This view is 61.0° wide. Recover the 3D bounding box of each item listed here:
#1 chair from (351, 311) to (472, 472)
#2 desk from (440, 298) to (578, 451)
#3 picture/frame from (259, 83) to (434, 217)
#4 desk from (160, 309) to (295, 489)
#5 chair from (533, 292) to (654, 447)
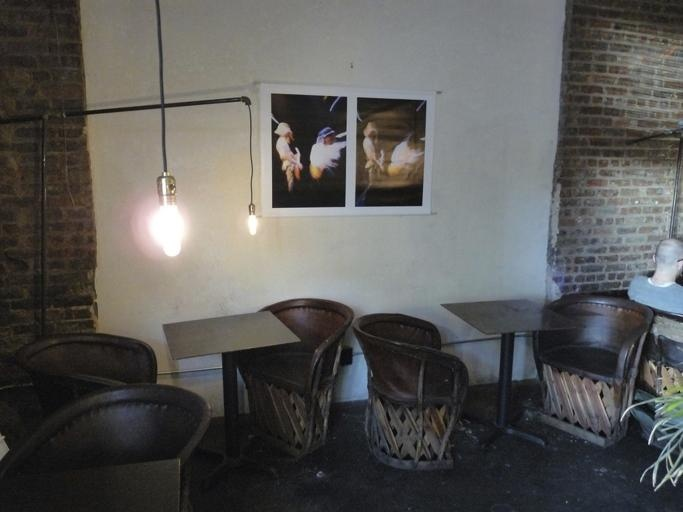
[{"bbox_3d":[0.503,1.003,4.483,0.685,1.009,0.850,-2,11,-6],"label":"chair"},{"bbox_3d":[1.311,0.964,4.621,0.825,0.871,0.911,3,5,12],"label":"desk"},{"bbox_3d":[-0.020,-0.903,4.768,1.038,0.763,0.042,-2,8,-12],"label":"picture/frame"},{"bbox_3d":[-0.766,1.032,4.505,1.048,1.289,1.035,-3,10,-19],"label":"desk"},{"bbox_3d":[2.060,0.891,4.696,0.637,1.009,0.784,-9,14,-30],"label":"chair"}]
